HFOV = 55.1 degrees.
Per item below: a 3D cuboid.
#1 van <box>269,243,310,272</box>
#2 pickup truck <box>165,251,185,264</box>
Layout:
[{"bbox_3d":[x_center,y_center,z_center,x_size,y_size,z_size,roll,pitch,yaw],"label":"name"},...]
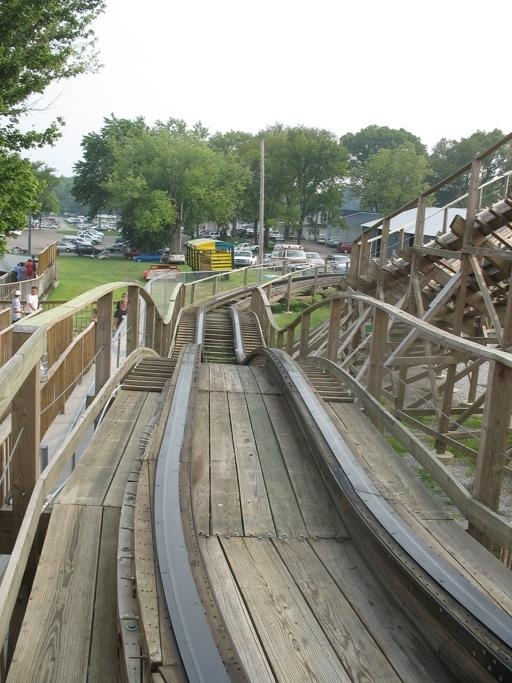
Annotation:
[{"bbox_3d":[2.006,-5.272,30.308,1.900,2.346,3.814,-3,11,-10],"label":"van"},{"bbox_3d":[-7.379,-7.746,44.692,1.060,0.954,2.436,0,17,-8],"label":"pickup truck"}]
